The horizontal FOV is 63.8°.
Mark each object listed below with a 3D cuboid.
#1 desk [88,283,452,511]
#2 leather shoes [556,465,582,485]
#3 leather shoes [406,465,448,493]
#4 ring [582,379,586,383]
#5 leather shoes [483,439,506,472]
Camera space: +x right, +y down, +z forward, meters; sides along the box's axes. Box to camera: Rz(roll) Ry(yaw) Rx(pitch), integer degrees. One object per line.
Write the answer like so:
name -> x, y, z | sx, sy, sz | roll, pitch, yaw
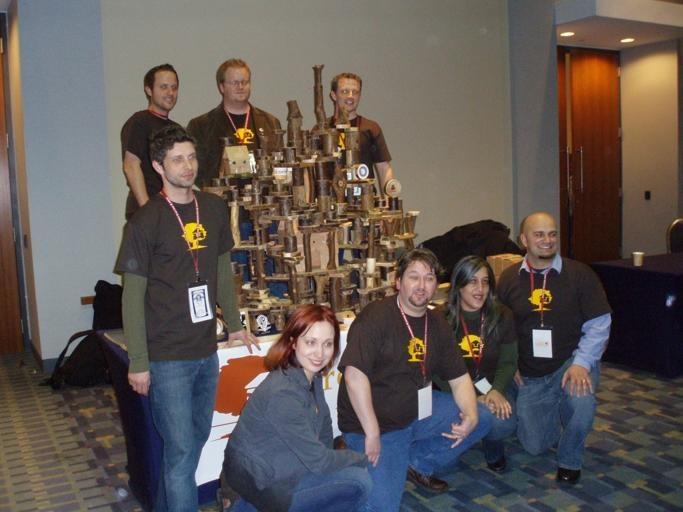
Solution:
desk -> -0.873, 0.754, 3.353 | 1.546, 1.089, 0.957 | -1, 3, -23
leather shoes -> 1.287, 1.251, 3.113 | 0.126, 0.072, 0.053 | -6, 1, 33
leather shoes -> 0.488, 1.283, 3.161 | 0.256, 0.106, 0.095 | 6, 5, 38
ring -> 1.395, 0.723, 3.167 | 0.017, 0.017, 0.004 | -2, -8, 22
leather shoes -> 0.909, 1.191, 3.271 | 0.086, 0.111, 0.264 | -3, -7, -1
